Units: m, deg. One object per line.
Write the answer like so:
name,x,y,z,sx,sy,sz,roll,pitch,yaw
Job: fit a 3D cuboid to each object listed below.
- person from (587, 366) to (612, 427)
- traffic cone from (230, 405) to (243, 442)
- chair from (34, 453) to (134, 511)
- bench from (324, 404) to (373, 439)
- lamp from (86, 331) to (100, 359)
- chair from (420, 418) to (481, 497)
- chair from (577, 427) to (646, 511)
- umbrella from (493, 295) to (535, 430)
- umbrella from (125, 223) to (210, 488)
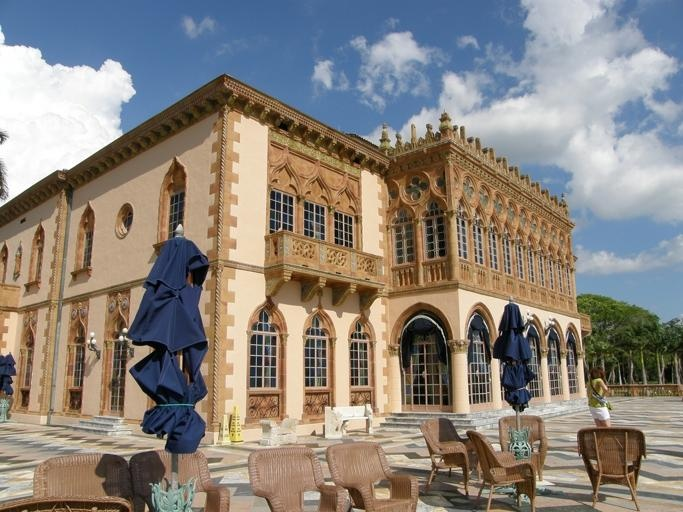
person,5.914,3.272,13.670,0.455,1.410,2.531,-9,-21,21
traffic cone,-3.308,5.285,18.615,0.396,1.089,0.215,6,-20,-24
chair,-3.997,3.522,9.339,1.079,1.312,1.088,7,-33,-18
bench,0.372,5.884,21.207,0.555,1.095,1.885,-3,-10,44
lamp,-9.849,3.605,23.592,0.486,1.054,1.143,9,-22,-31
chair,2.454,4.297,12.812,1.271,1.543,1.308,-1,-11,-22
chair,5.205,4.173,11.765,1.356,2.052,1.440,-2,-11,19
umbrella,3.891,2.353,13.471,0.810,2.844,0.976,-8,-19,17
umbrella,-2.738,1.393,9.560,1.141,3.461,0.577,3,-18,-14
